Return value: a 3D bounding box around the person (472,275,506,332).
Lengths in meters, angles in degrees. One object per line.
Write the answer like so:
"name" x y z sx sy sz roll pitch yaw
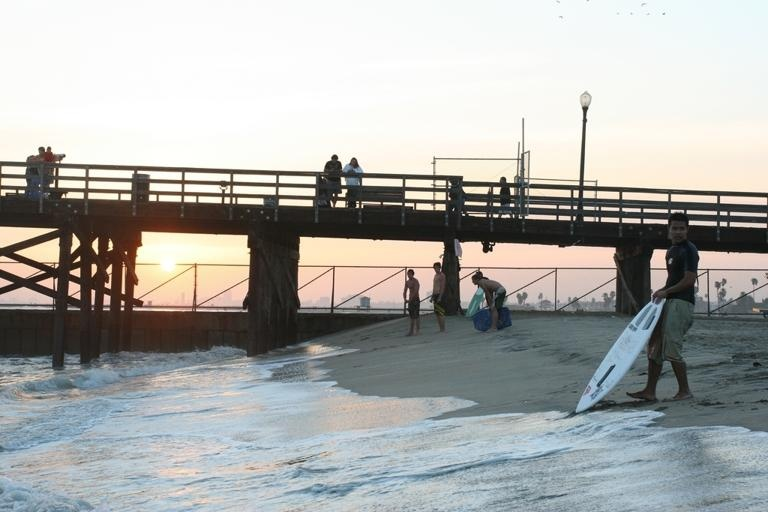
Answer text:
"person" 2.539 1.011 28.581 0.707 1.383 1.088 -6 12 3

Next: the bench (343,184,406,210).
"bench" -0.247 -1.673 32.929 1.631 0.609 0.709 -5 11 -3

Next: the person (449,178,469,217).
"person" 2.060 -1.651 33.315 0.509 1.055 0.829 -6 12 4

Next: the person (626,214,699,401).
"person" 4.757 0.821 20.055 1.044 3.077 1.180 -4 13 13
